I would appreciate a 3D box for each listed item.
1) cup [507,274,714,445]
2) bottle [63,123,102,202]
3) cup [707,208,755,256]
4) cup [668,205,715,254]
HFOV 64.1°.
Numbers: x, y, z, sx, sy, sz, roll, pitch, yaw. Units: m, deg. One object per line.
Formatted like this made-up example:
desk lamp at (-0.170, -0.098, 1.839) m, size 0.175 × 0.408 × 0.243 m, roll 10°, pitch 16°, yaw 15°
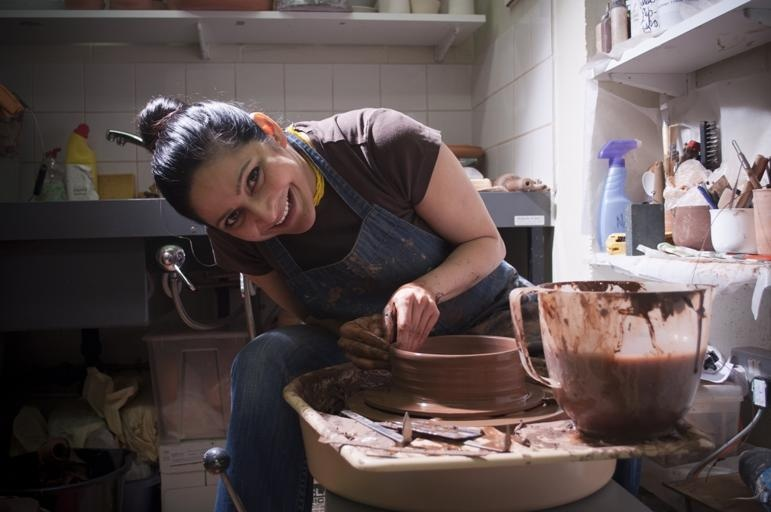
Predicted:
cup at (0.455, 0.193, 1.325) m, size 0.362 × 0.275 × 0.295 m, roll -6°, pitch 1°, yaw -13°
bottle at (-1.346, -0.412, 2.714) m, size 0.127 × 0.346 × 0.210 m, roll -2°, pitch 1°, yaw -28°
cup at (1.001, -0.069, 1.772) m, size 0.118 × 0.099 × 0.112 m, roll 0°, pitch -4°, yaw 0°
cup at (0.947, -0.084, 1.903) m, size 0.116 × 0.116 × 0.121 m, roll 2°, pitch 1°, yaw 0°
